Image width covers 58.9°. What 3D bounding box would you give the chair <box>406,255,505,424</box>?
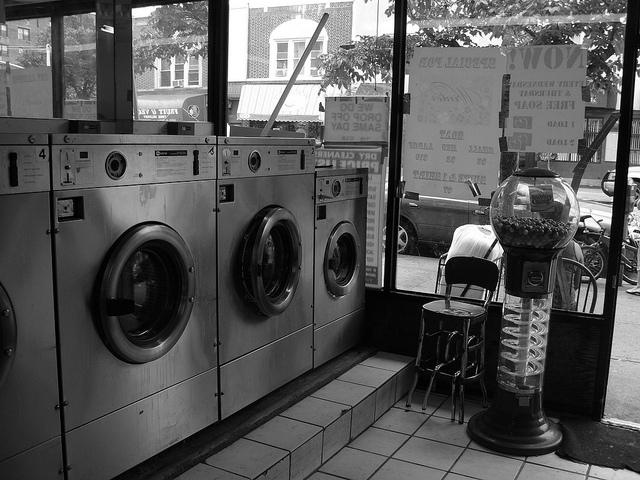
[{"bbox_3d":[0.906,0.622,3.861,0.548,1.015,0.731,5,13,18],"label":"chair"}]
